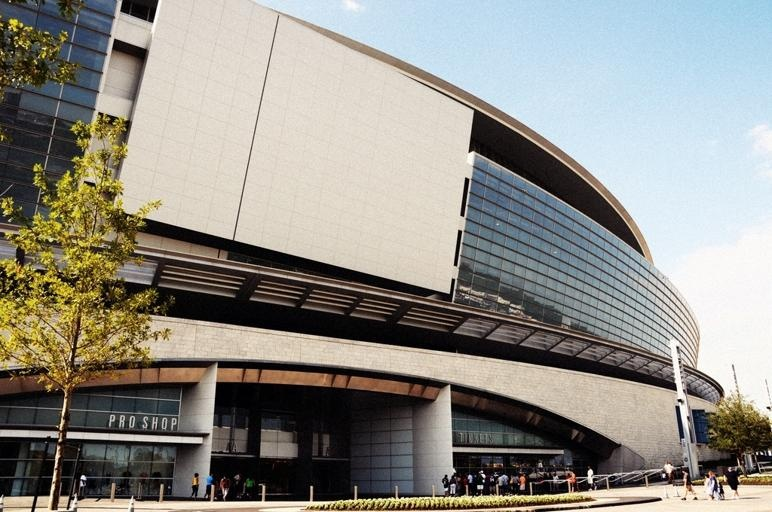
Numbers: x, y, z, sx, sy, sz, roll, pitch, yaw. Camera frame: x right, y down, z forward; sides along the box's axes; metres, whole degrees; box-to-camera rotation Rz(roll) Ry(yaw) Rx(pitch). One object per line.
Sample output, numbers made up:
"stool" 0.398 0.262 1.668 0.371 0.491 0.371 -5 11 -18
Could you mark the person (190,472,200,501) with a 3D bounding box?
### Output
"person" -12.085 14.396 35.713 0.519 1.594 1.200 6 -28 -16
